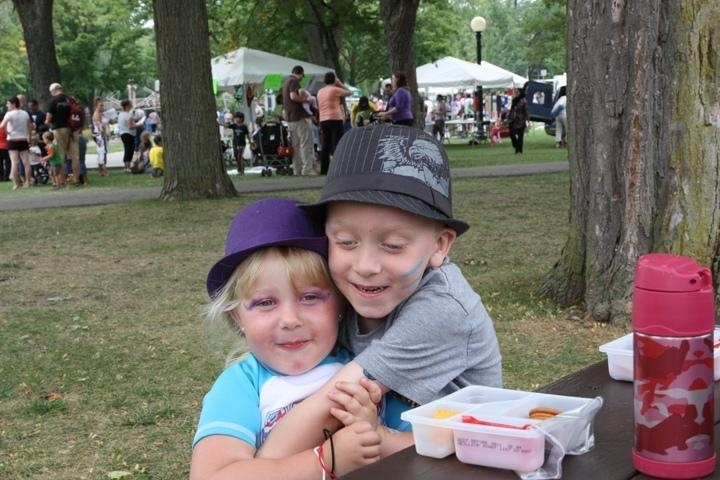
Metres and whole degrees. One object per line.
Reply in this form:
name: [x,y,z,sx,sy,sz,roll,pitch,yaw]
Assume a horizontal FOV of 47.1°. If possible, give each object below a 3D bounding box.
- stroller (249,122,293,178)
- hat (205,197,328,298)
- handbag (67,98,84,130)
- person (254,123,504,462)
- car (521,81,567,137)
stroller: [-1.688,-2.090,18.331,0.819,1.336,1.204,-3,6,34]
hat: [-0.499,-0.003,3.913,0.559,0.326,0.592,-9,8,-42]
handbag: [-5.993,-2.647,17.511,0.295,0.743,0.757,-6,14,-17]
person: [0.087,0.231,3.864,0.981,1.476,0.939,2,1,2]
car: [5.750,-4.377,26.150,1.153,1.320,2.089,2,23,6]
